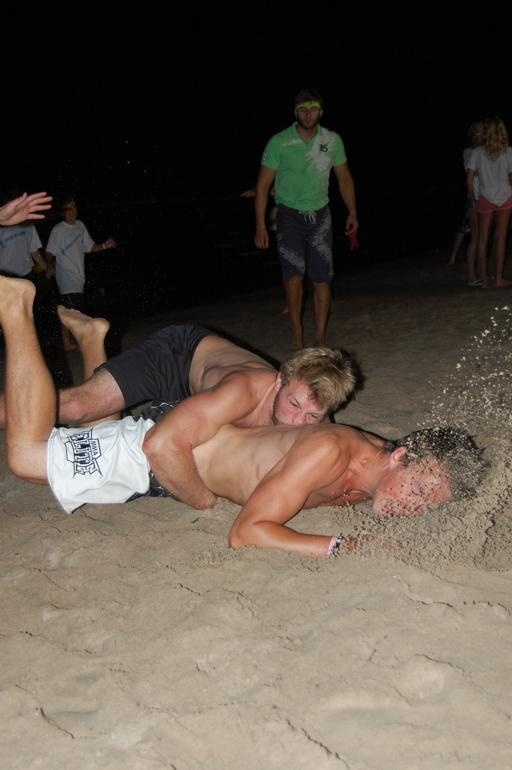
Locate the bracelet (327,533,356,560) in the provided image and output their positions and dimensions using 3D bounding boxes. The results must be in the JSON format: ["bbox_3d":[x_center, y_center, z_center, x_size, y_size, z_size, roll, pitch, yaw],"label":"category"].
[{"bbox_3d":[0.284,0.536,2.455,0.055,0.022,0.095,-35,-18,31],"label":"bracelet"}]

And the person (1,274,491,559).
[{"bbox_3d":[-0.066,0.290,2.737,1.841,0.665,0.867,22,7,8],"label":"person"}]
